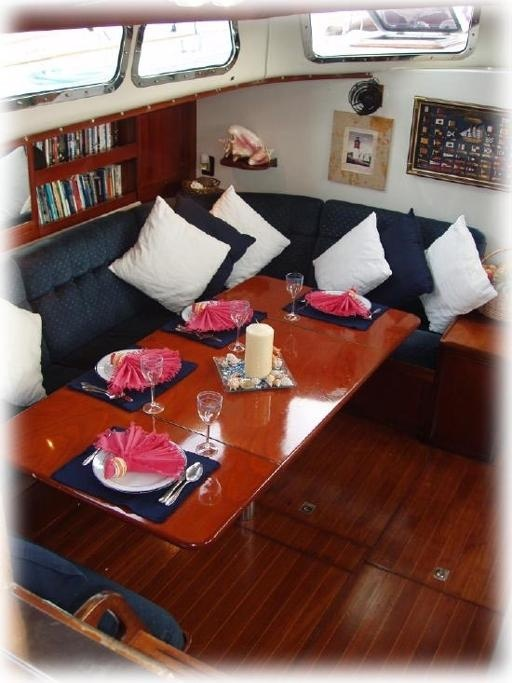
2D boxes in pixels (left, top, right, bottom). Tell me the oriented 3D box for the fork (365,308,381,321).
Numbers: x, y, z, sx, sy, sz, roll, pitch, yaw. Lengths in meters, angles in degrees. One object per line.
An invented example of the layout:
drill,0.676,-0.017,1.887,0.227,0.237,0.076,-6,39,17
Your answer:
fork,0.630,-0.152,2.616,0.074,0.019,0.073,26,50,34

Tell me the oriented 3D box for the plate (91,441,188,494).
plate,-0.391,0.412,1.502,0.290,0.040,0.122,10,22,19

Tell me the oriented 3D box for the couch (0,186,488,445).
couch,-0.473,-0.227,3.264,2.093,0.793,1.909,20,34,12

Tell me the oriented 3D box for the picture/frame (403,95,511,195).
picture/frame,1.341,-1.309,3.214,0.655,0.451,0.058,18,29,26

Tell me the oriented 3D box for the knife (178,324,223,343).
knife,-0.270,-0.034,2.332,0.160,0.023,0.085,16,39,22

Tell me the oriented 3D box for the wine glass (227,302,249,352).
wine glass,-0.083,-0.078,2.282,0.122,0.257,0.117,-8,25,-21

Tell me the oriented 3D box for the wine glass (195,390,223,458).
wine glass,-0.161,0.243,1.710,0.085,0.199,0.271,0,21,-5

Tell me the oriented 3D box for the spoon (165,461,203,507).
spoon,-0.216,0.429,1.498,0.045,0.025,0.166,20,35,10
